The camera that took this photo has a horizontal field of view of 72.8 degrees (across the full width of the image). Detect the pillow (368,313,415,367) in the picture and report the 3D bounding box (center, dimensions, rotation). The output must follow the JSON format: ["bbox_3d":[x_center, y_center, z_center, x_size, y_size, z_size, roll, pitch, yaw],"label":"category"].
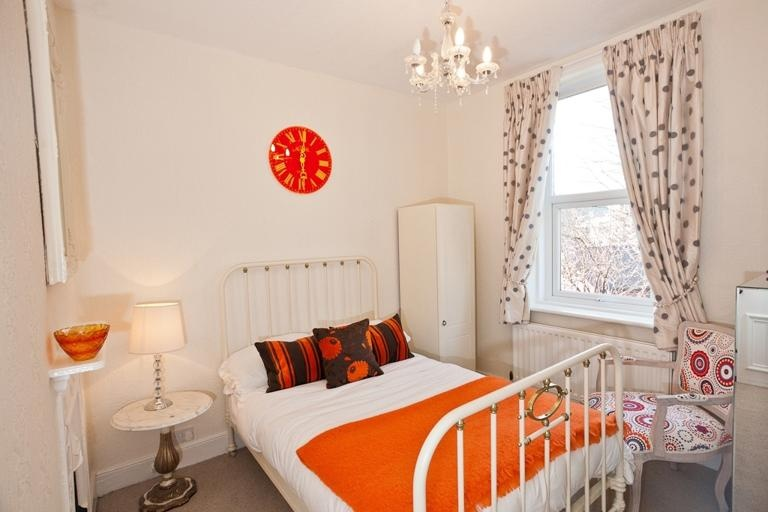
[{"bbox_3d":[0.036,0.692,4.258,0.349,0.328,0.105,-10,-19,-44],"label":"pillow"}]

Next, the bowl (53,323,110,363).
[{"bbox_3d":[-1.748,0.502,3.017,0.269,0.192,0.281,-4,4,0],"label":"bowl"}]

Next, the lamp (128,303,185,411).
[{"bbox_3d":[-1.612,0.702,3.711,0.353,0.738,0.365,-4,4,-25],"label":"lamp"}]

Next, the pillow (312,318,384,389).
[{"bbox_3d":[-0.289,0.733,3.901,0.466,0.438,0.141,-8,-20,-35],"label":"pillow"}]

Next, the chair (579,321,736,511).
[{"bbox_3d":[1.747,1.119,4.121,1.133,1.575,1.189,0,-2,-5],"label":"chair"}]

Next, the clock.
[{"bbox_3d":[-0.740,-0.817,4.398,0.557,0.554,0.044,12,-6,-40],"label":"clock"}]

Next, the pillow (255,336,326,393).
[{"bbox_3d":[-0.710,0.804,3.915,0.465,0.345,0.208,-3,4,-25],"label":"pillow"}]

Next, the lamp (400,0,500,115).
[{"bbox_3d":[0.497,-1.507,3.882,0.639,0.734,0.541,-2,-15,0],"label":"lamp"}]
